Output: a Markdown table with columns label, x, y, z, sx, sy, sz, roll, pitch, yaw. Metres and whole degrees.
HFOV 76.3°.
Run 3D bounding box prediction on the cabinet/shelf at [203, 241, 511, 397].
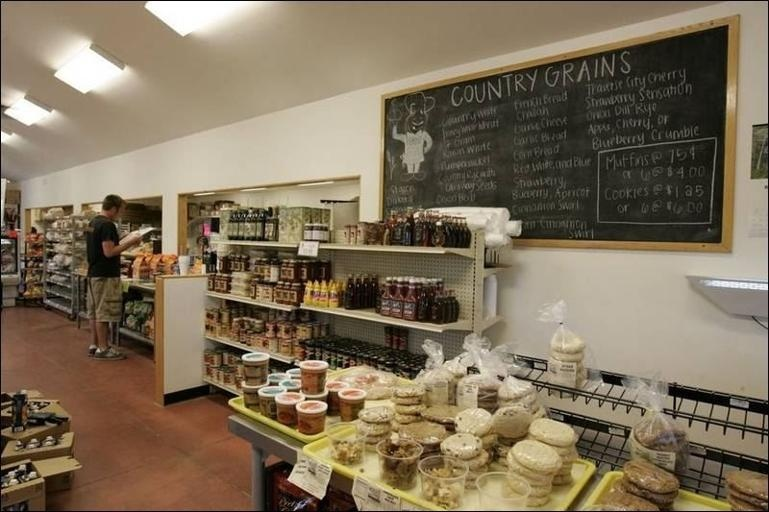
| label | x | y | z | sx | sy | sz | roll | pitch | yaw |
| --- | --- | --- | --- | --- | --- | --- | --- | --- | --- |
| cabinet/shelf | -0.536 | 0.470 | 4.639 | 3.485 | 1.390 | 1.059 | 1 | -3 | 32 |

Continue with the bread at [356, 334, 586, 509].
| label | x | y | z | sx | sy | sz | roll | pitch | yaw |
| --- | --- | --- | --- | --- | --- | --- | --- | --- | --- |
| bread | 0.430 | 0.698 | 2.419 | 0.866 | 0.278 | 0.761 | -5 | 4 | -43 |

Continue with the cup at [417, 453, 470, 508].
| label | x | y | z | sx | sy | sz | roll | pitch | yaw |
| --- | --- | --- | --- | --- | --- | --- | --- | --- | --- |
| cup | 0.262 | 1.004 | 2.210 | 0.207 | 0.130 | 0.211 | 2 | -9 | 0 |

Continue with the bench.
| label | x | y | z | sx | sy | sz | roll | pitch | yaw |
| --- | --- | --- | --- | --- | --- | --- | --- | --- | --- |
| bench | -3.878 | 0.686 | 6.649 | 1.162 | 0.924 | 0.437 | -1 | -2 | 42 |

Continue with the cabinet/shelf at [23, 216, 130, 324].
| label | x | y | z | sx | sy | sz | roll | pitch | yaw |
| --- | --- | --- | --- | --- | --- | --- | --- | --- | --- |
| cabinet/shelf | -4.821 | 0.252 | 7.651 | 0.602 | 1.634 | 1.800 | -6 | 8 | -42 |

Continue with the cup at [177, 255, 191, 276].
| label | x | y | z | sx | sy | sz | roll | pitch | yaw |
| --- | --- | --- | --- | --- | --- | --- | --- | --- | --- |
| cup | -2.370 | 0.107 | 5.757 | 0.129 | 0.219 | 0.303 | 6 | 4 | -22 |

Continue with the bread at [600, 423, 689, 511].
| label | x | y | z | sx | sy | sz | roll | pitch | yaw |
| --- | --- | --- | --- | --- | --- | --- | --- | --- | --- |
| bread | 1.189 | 0.997 | 2.291 | 0.420 | 0.132 | 0.318 | -2 | 10 | 17 |

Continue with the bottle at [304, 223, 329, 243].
| label | x | y | z | sx | sy | sz | roll | pitch | yaw |
| --- | --- | --- | --- | --- | --- | --- | --- | --- | --- |
| bottle | -0.626 | -0.204 | 4.452 | 0.186 | 0.128 | 0.185 | 2 | 3 | 0 |

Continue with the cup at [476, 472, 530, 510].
| label | x | y | z | sx | sy | sz | roll | pitch | yaw |
| --- | --- | --- | --- | --- | --- | --- | --- | --- | --- |
| cup | 0.505 | 1.027 | 2.132 | 0.194 | 0.120 | 0.188 | 0 | -3 | 0 |

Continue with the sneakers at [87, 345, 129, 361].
| label | x | y | z | sx | sy | sz | roll | pitch | yaw |
| --- | --- | --- | --- | --- | --- | --- | --- | --- | --- |
| sneakers | -3.562 | 1.249 | 6.255 | 0.333 | 0.105 | 0.234 | 0 | 3 | -33 |

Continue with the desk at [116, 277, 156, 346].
| label | x | y | z | sx | sy | sz | roll | pitch | yaw |
| --- | --- | --- | --- | --- | --- | --- | --- | --- | --- |
| desk | -3.398 | 0.745 | 6.679 | 1.042 | 0.928 | 0.341 | 4 | 1 | 44 |

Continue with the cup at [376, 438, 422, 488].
| label | x | y | z | sx | sy | sz | roll | pitch | yaw |
| --- | --- | --- | --- | --- | --- | --- | --- | --- | --- |
| cup | 0.084 | 0.981 | 2.365 | 0.206 | 0.138 | 0.214 | 3 | -4 | 0 |

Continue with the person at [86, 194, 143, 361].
| label | x | y | z | sx | sy | sz | roll | pitch | yaw |
| --- | --- | --- | --- | --- | --- | --- | --- | --- | --- |
| person | -3.529 | 0.273 | 6.269 | 0.586 | 2.094 | 0.743 | 6 | 5 | -27 |
